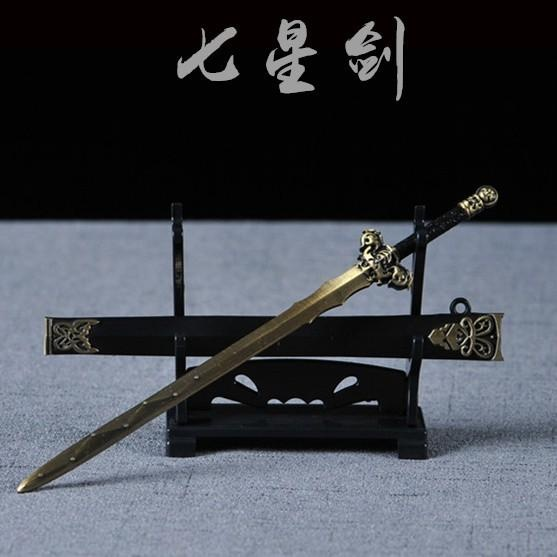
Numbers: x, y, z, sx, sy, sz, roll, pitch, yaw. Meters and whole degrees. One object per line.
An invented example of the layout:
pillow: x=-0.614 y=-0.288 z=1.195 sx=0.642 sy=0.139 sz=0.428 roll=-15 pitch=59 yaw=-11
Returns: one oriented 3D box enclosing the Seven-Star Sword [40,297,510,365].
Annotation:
Seven-Star Sword: x=-0.009 y=0.222 z=4.587 sx=1.662 sy=0.212 sz=0.099 roll=0 pitch=-31 yaw=-5
